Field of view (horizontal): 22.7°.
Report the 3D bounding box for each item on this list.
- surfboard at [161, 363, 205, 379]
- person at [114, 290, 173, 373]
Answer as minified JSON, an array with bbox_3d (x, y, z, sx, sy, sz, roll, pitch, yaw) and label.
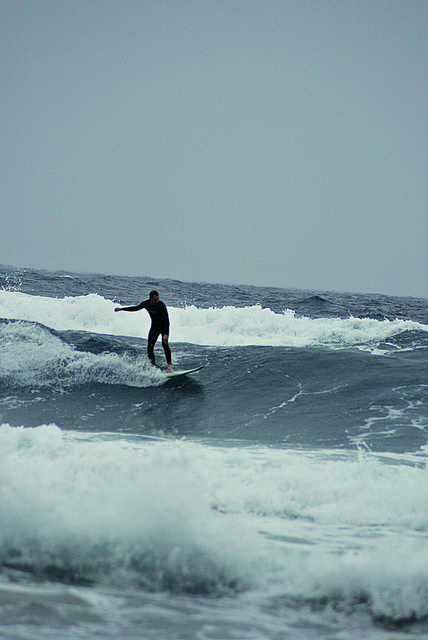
[{"bbox_3d":[-0.405,0.671,14.058,0.512,0.169,0.497,1,5,6],"label":"surfboard"},{"bbox_3d":[-0.839,0.152,14.344,0.567,1.143,0.983,0,5,-3],"label":"person"}]
